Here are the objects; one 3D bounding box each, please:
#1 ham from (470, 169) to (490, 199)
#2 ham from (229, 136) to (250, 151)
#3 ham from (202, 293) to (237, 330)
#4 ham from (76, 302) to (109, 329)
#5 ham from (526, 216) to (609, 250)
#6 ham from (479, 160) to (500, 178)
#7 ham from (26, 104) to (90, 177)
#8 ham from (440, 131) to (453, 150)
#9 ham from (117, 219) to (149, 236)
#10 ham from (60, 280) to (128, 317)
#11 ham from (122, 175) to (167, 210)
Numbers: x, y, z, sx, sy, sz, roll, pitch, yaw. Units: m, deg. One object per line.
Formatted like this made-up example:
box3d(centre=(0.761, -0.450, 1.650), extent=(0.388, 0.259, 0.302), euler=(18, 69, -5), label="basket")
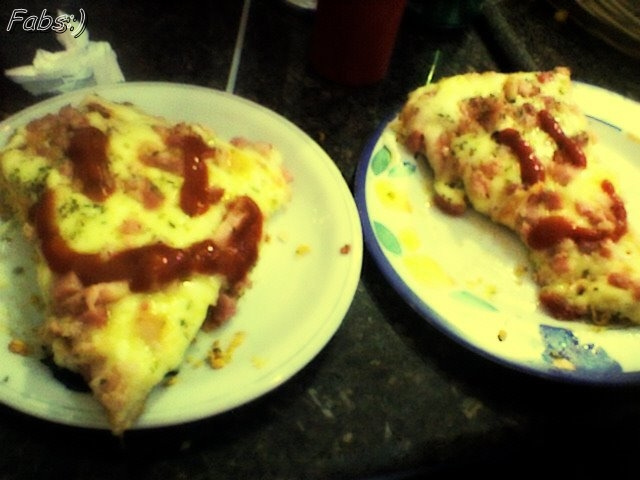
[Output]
box3d(centre=(0.602, -0.208, 2.649), extent=(0.059, 0.042, 0.114), euler=(-20, 68, -13), label="ham")
box3d(centre=(-0.301, -0.366, 2.624), extent=(0.056, 0.018, 0.060), euler=(-36, 58, -29), label="ham")
box3d(centre=(-0.350, 0.252, 2.348), extent=(0.071, 0.051, 0.124), euler=(41, 68, 13), label="ham")
box3d(centre=(-0.707, 0.245, 2.192), extent=(0.099, 0.023, 0.071), euler=(-35, 73, -19), label="ham")
box3d(centre=(0.908, -0.027, 2.531), extent=(0.223, 0.050, 0.126), euler=(7, 70, 6), label="ham")
box3d(centre=(0.645, -0.266, 2.645), extent=(0.053, 0.020, 0.067), euler=(36, 95, 11), label="ham")
box3d(centre=(-0.905, -0.360, 2.446), extent=(0.194, 0.250, 0.189), euler=(20, 36, 26), label="ham")
box3d(centre=(0.493, -0.387, 2.735), extent=(0.051, 0.020, 0.075), euler=(3, 65, -4), label="ham")
box3d(centre=(-0.619, -0.034, 2.291), extent=(0.081, 0.015, 0.059), euler=(26, 66, 7), label="ham")
box3d(centre=(-0.727, 0.163, 2.309), extent=(0.149, 0.275, 0.083), euler=(-5, 105, -10), label="ham")
box3d(centre=(-0.597, -0.159, 2.348), extent=(0.147, 0.025, 0.091), euler=(41, 68, 13), label="ham")
